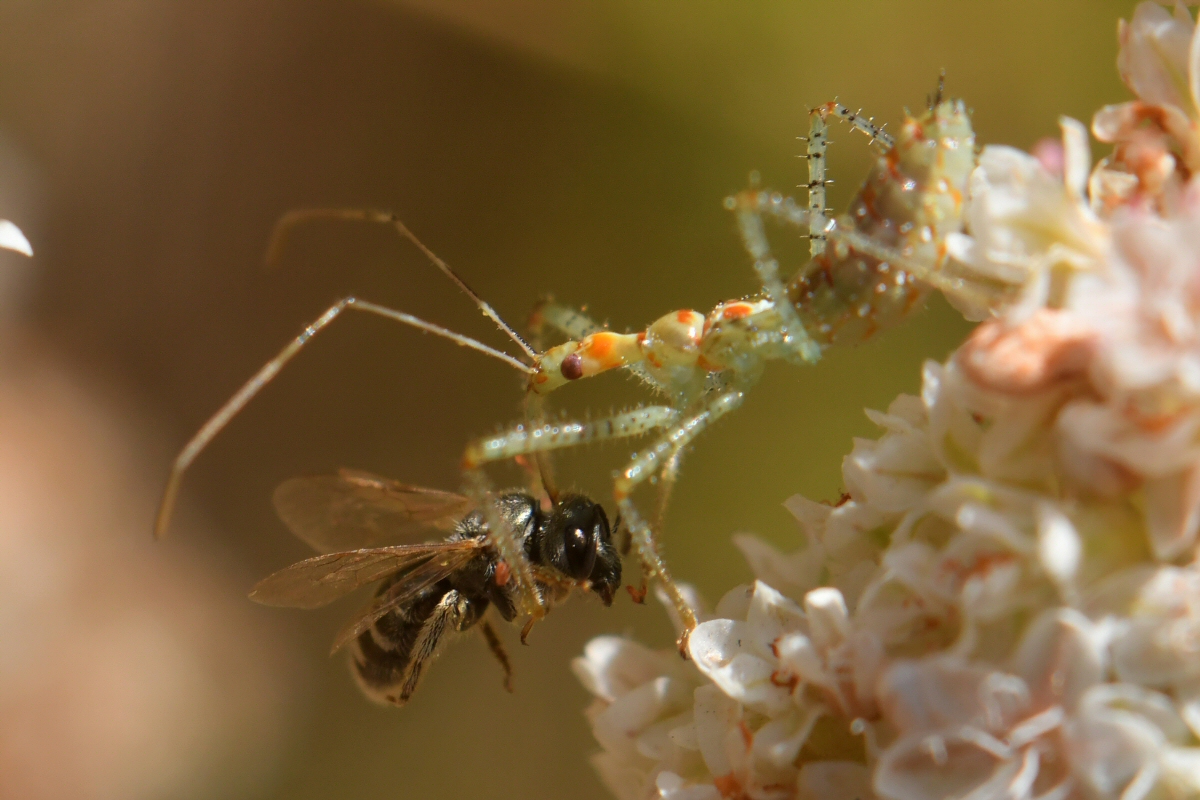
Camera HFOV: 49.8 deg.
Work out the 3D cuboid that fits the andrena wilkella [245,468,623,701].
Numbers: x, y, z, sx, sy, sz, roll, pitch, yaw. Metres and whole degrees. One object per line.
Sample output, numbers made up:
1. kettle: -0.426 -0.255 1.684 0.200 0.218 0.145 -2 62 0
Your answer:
1. andrena wilkella: -0.170 0.262 1.975 0.619 0.441 0.230 -16 -89 8
